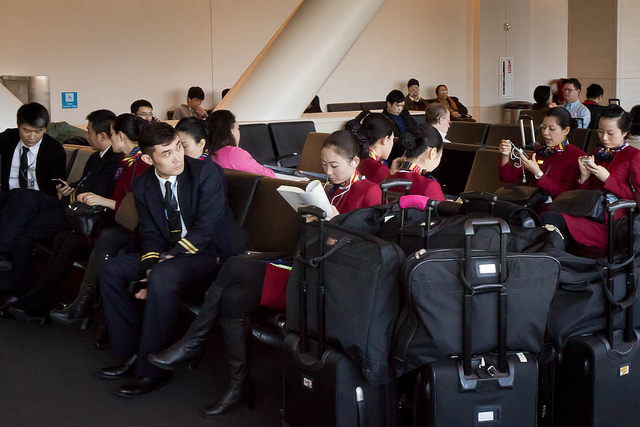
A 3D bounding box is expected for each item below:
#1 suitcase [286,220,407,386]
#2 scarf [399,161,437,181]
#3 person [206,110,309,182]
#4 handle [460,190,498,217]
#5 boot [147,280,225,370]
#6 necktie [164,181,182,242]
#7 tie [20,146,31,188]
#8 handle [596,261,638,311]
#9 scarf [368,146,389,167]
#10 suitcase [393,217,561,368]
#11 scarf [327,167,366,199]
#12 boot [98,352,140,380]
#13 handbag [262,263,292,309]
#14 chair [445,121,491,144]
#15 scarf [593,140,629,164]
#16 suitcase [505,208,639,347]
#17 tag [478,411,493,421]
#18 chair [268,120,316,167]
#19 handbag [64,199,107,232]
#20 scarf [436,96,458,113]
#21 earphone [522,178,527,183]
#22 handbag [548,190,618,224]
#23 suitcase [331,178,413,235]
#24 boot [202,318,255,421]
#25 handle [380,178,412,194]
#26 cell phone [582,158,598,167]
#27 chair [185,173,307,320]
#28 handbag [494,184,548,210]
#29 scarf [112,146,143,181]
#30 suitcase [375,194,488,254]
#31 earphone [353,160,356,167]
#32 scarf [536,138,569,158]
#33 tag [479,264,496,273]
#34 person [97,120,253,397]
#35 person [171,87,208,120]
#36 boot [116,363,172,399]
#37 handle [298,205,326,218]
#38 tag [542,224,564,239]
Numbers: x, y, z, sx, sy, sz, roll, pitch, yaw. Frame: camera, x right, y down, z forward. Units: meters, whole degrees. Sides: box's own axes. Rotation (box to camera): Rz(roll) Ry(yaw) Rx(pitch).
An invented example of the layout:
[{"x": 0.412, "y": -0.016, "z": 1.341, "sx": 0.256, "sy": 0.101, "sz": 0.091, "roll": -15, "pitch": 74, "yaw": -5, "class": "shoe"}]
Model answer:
[{"x": 0.085, "y": 0.371, "z": 2.204, "sx": 0.363, "sy": 0.599, "sz": 0.668, "roll": -3, "pitch": 7, "yaw": -38, "class": "suitcase"}, {"x": 0.593, "y": -0.268, "z": 2.920, "sx": 0.170, "sy": 0.049, "sz": 0.134, "roll": 23, "pitch": 4, "yaw": -9, "class": "scarf"}, {"x": -0.549, "y": -0.519, "z": 4.281, "sx": 1.027, "sy": 0.601, "sz": 0.542, "roll": 1, "pitch": 13, "yaw": -42, "class": "person"}, {"x": 0.769, "y": -0.025, "z": 2.349, "sx": 0.198, "sy": 0.031, "sz": 0.219, "roll": 4, "pitch": 25, "yaw": 15, "class": "handle"}, {"x": -0.765, "y": 0.648, "z": 2.720, "sx": 0.328, "sy": 0.475, "sz": 0.143, "roll": 23, "pitch": -8, "yaw": -36, "class": "boot"}, {"x": -0.947, "y": -0.012, "z": 3.121, "sx": 0.093, "sy": 0.406, "sz": 0.069, "roll": -4, "pitch": 3, "yaw": 3, "class": "necktie"}, {"x": -2.667, "y": -0.408, "z": 4.355, "sx": 0.076, "sy": 0.394, "sz": 0.035, "roll": 2, "pitch": -4, "yaw": 8, "class": "tie"}, {"x": 1.303, "y": 0.322, "z": 2.119, "sx": 0.154, "sy": 0.219, "sz": 0.057, "roll": 3, "pitch": -1, "yaw": -8, "class": "handle"}, {"x": 0.406, "y": -0.387, "z": 3.373, "sx": 0.138, "sy": 0.050, "sz": 0.106, "roll": 35, "pitch": 12, "yaw": -14, "class": "scarf"}, {"x": 0.696, "y": 0.361, "z": 1.983, "sx": 0.709, "sy": 0.624, "sz": 0.343, "roll": -4, "pitch": -8, "yaw": 15, "class": "suitcase"}, {"x": 0.167, "y": -0.174, "z": 2.845, "sx": 0.208, "sy": 0.116, "sz": 0.157, "roll": -15, "pitch": 14, "yaw": -22, "class": "scarf"}, {"x": -1.235, "y": 0.954, "z": 3.053, "sx": 0.116, "sy": 0.145, "sz": 0.341, "roll": 5, "pitch": 0, "yaw": 44, "class": "boot"}, {"x": -0.232, "y": 0.383, "z": 2.598, "sx": 0.194, "sy": 0.228, "sz": 0.089, "roll": 11, "pitch": 7, "yaw": 6, "class": "handbag"}, {"x": 2.053, "y": -1.106, "z": 6.662, "sx": 0.221, "sy": 0.234, "sz": 0.477, "roll": -31, "pitch": 24, "yaw": -28, "class": "chair"}, {"x": 2.009, "y": -0.435, "z": 3.317, "sx": 0.158, "sy": 0.078, "sz": 0.189, "roll": 17, "pitch": 32, "yaw": 42, "class": "scarf"}, {"x": 1.124, "y": 0.240, "z": 2.335, "sx": 0.652, "sy": 0.606, "sz": 0.463, "roll": -8, "pitch": 12, "yaw": -20, "class": "suitcase"}, {"x": 0.656, "y": 0.808, "z": 1.913, "sx": 0.043, "sy": 0.025, "sz": 0.004, "roll": -1, "pitch": -3, "yaw": -6, "class": "tag"}, {"x": -0.402, "y": -0.901, "z": 6.338, "sx": 0.631, "sy": 0.419, "sz": 0.264, "roll": -17, "pitch": 4, "yaw": -36, "class": "chair"}, {"x": -1.744, "y": 0.026, "z": 3.563, "sx": 0.314, "sy": 0.229, "sz": 0.304, "roll": 6, "pitch": -1, "yaw": -10, "class": "handbag"}, {"x": 3.014, "y": -2.575, "z": 11.359, "sx": 0.475, "sy": 0.268, "sz": 0.970, "roll": 3, "pitch": 16, "yaw": 14, "class": "scarf"}, {"x": 1.659, "y": -0.265, "z": 3.915, "sx": 0.028, "sy": 0.048, "sz": 0.026, "roll": -12, "pitch": 29, "yaw": -17, "class": "earphone"}, {"x": 1.560, "y": -0.052, "z": 2.910, "sx": 0.289, "sy": 0.134, "sz": 0.369, "roll": -43, "pitch": 26, "yaw": -23, "class": "handbag"}, {"x": 0.244, "y": -0.057, "z": 2.429, "sx": 0.381, "sy": 0.345, "sz": 0.235, "roll": -6, "pitch": 11, "yaw": -29, "class": "suitcase"}, {"x": -0.521, "y": 0.840, "z": 2.623, "sx": 0.286, "sy": 0.530, "sz": 0.154, "roll": -6, "pitch": 15, "yaw": -17, "class": "boot"}, {"x": 0.368, "y": -0.139, "z": 2.376, "sx": 0.148, "sy": 0.076, "sz": 0.185, "roll": 1, "pitch": 16, "yaw": 5, "class": "handle"}, {"x": 1.742, "y": -0.322, "z": 3.100, "sx": 0.046, "sy": 0.021, "sz": 0.062, "roll": 3, "pitch": -11, "yaw": -5, "class": "cell phone"}, {"x": -0.384, "y": 0.259, "z": 3.261, "sx": 0.925, "sy": 0.926, "sz": 0.668, "roll": -2, "pitch": 15, "yaw": -39, "class": "chair"}, {"x": 1.365, "y": -0.123, "z": 3.271, "sx": 0.324, "sy": 0.116, "sz": 0.253, "roll": -4, "pitch": 8, "yaw": -37, "class": "handbag"}, {"x": -1.483, "y": -0.337, "z": 3.687, "sx": 0.200, "sy": 0.316, "sz": 0.116, "roll": 4, "pitch": -1, "yaw": 8, "class": "scarf"}, {"x": 0.554, "y": 0.058, "z": 2.337, "sx": 0.497, "sy": 0.207, "sz": 0.369, "roll": 3, "pitch": 2, "yaw": 14, "class": "suitcase"}, {"x": 0.197, "y": -0.288, "z": 2.759, "sx": 0.022, "sy": 0.022, "sz": 0.005, "roll": 0, "pitch": -5, "yaw": -34, "class": "earphone"}, {"x": 1.827, "y": -0.515, "z": 3.746, "sx": 0.199, "sy": 0.079, "sz": 0.147, "roll": -12, "pitch": 9, "yaw": -14, "class": "scarf"}, {"x": 0.646, "y": 0.215, "z": 1.852, "sx": 0.054, "sy": 0.030, "sz": 0.012, "roll": 0, "pitch": 0, "yaw": -3, "class": "tag"}, {"x": -0.994, "y": 0.222, "z": 3.044, "sx": 0.647, "sy": 1.540, "sz": 0.934, "roll": 11, "pitch": 19, "yaw": 39, "class": "person"}, {"x": -2.566, "y": -2.068, "z": 9.462, "sx": 0.733, "sy": 0.757, "sz": 0.466, "roll": 4, "pitch": 13, "yaw": -34, "class": "person"}, {"x": -1.045, "y": 0.988, "z": 2.851, "sx": 0.125, "sy": 0.163, "sz": 0.344, "roll": -3, "pitch": -5, "yaw": 37, "class": "boot"}, {"x": -0.043, "y": -0.010, "z": 2.116, "sx": 0.084, "sy": 0.041, "sz": 0.155, "roll": -8, "pitch": 17, "yaw": -25, "class": "handle"}, {"x": 1.075, "y": 0.073, "z": 2.207, "sx": 0.089, "sy": 0.032, "sz": 0.069, "roll": 41, "pitch": -21, "yaw": -26, "class": "tag"}]
